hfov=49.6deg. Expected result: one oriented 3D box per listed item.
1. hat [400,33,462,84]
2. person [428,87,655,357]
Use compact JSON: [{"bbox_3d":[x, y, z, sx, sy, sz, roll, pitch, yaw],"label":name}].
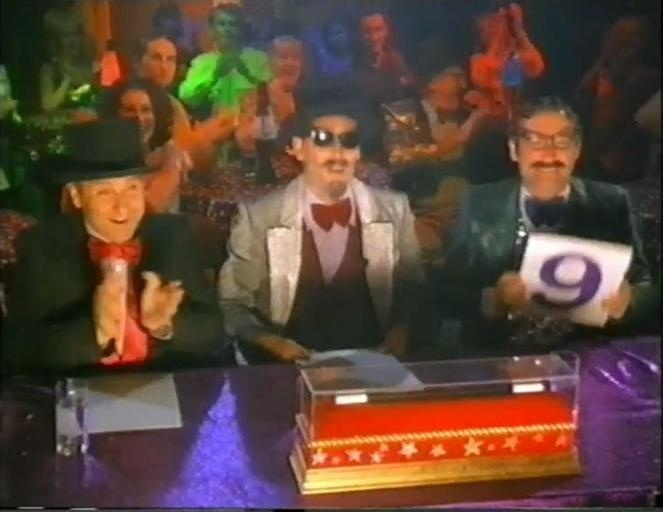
[{"bbox_3d":[0.714,-1.367,4.984,0.338,0.320,0.096,-29,15,-7],"label":"hat"},{"bbox_3d":[1.426,-0.300,5.143,1.782,1.549,0.983,-2,25,3],"label":"person"}]
